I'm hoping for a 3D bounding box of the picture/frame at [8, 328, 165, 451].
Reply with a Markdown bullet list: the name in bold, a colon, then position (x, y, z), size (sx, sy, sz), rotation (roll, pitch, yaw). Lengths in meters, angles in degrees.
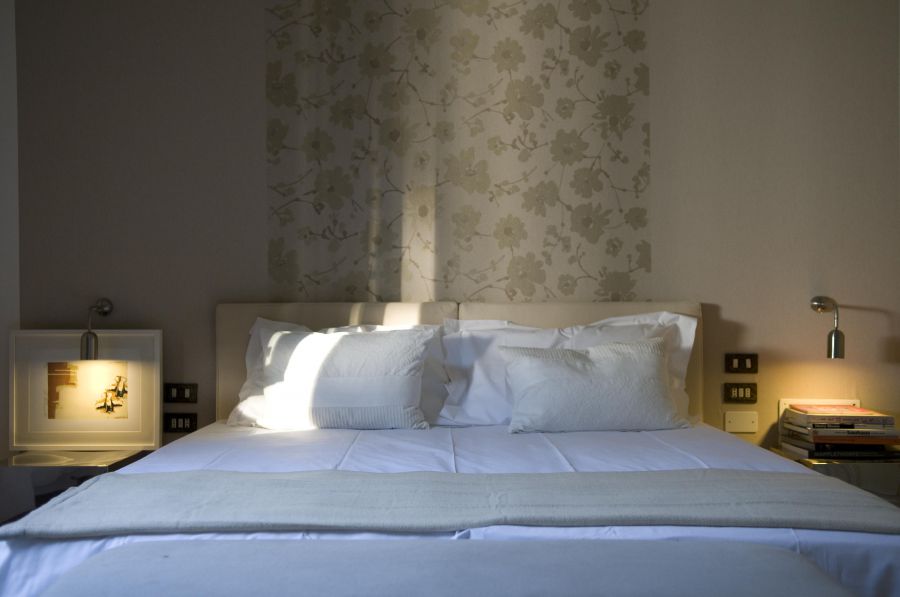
- **picture/frame**: position (-2.074, 0.530, 4.390), size (0.636, 0.559, 0.046), rotation (-1, -5, -2)
